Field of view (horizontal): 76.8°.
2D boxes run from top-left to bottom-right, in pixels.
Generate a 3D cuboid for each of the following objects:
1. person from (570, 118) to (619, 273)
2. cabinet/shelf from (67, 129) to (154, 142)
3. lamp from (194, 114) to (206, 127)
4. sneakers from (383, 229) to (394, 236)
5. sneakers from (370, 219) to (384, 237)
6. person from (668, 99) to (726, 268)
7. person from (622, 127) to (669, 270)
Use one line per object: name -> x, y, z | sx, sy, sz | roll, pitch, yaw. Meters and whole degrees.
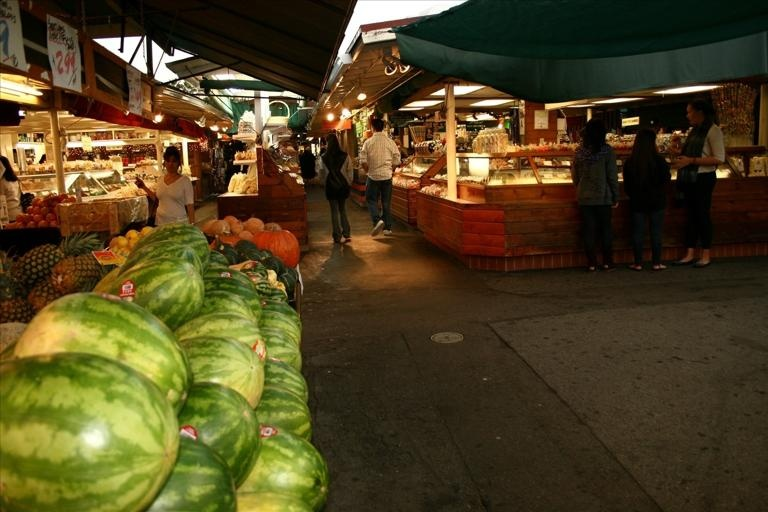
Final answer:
person -> 3.325, -0.957, 7.634 | 0.652, 2.340, 0.454 | 1, 13, 21
cabinet/shelf -> -8.196, -3.648, 14.711 | 1.511, 0.373, 2.066 | 7, 16, 39
lamp -> -6.482, -4.838, 17.161 | 0.330, 0.375, 0.932 | 1, 26, -26
sneakers -> 0.091, -0.572, 11.689 | 0.167, 0.128, 0.133 | 3, -1, 9
sneakers -> -0.128, -0.616, 11.465 | 0.214, 0.494, 0.224 | 17, 32, -18
person -> 4.951, -1.134, 7.640 | 0.605, 2.536, 0.639 | 3, 14, 29
person -> 4.075, -0.872, 7.535 | 0.647, 2.168, 0.395 | 1, 14, 23
